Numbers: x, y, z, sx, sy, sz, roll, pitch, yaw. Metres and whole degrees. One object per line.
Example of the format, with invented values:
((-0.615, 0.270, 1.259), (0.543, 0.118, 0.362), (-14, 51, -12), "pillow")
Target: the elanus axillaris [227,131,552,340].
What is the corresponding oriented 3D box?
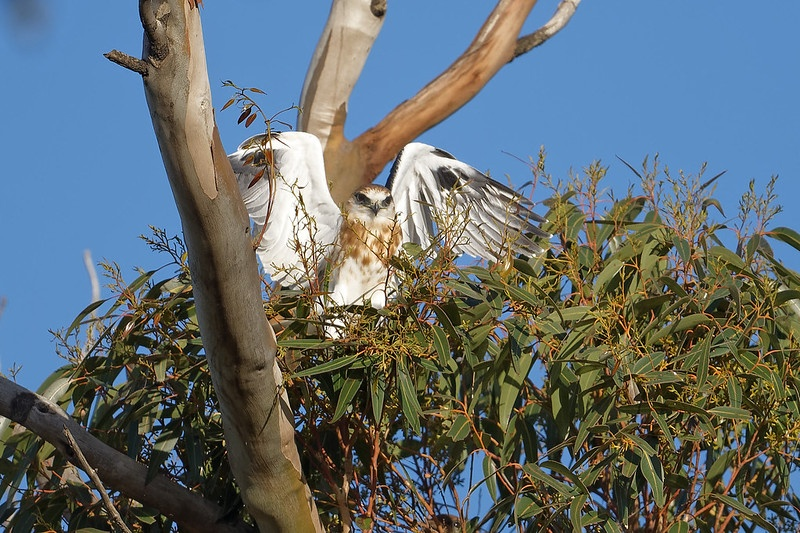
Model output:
((-0.240, -0.149, 6.306), (1.417, 0.886, 1.053), (6, -20, -15), "elanus axillaris")
